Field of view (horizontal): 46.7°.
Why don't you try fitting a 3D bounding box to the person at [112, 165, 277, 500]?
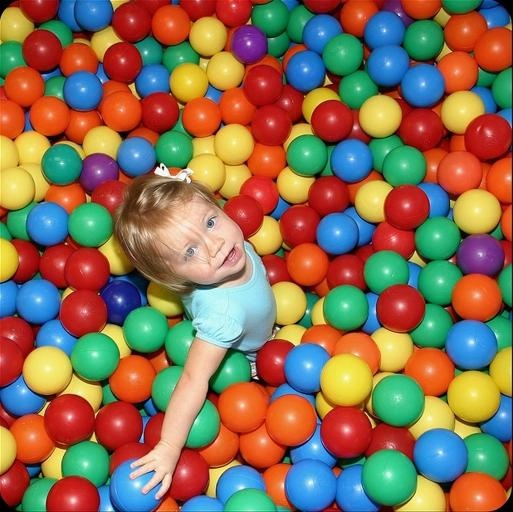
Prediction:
[{"bbox_3d":[-0.312,0.419,2.794,0.338,1.138,1.379,-1,73,7],"label":"person"}]
